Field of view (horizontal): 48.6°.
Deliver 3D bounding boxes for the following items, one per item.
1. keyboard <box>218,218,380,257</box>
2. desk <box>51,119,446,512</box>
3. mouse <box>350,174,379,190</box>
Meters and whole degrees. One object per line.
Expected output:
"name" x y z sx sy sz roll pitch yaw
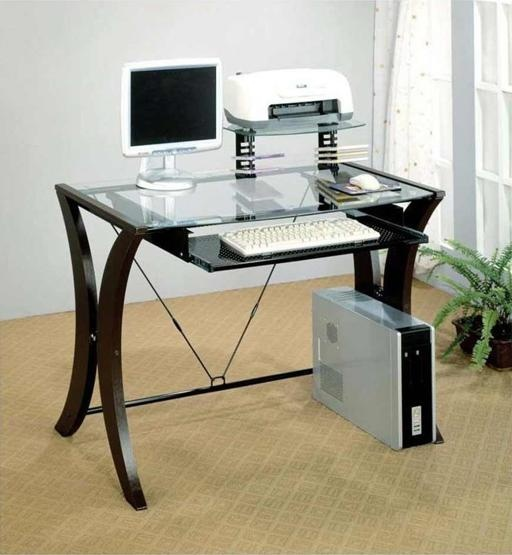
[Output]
"keyboard" 0.134 -0.127 1.717 0.470 0.056 0.231 -7 16 -25
"desk" -0.003 0.138 2.105 1.283 0.872 0.686 -7 16 -34
"mouse" 0.378 -0.333 1.913 0.064 0.029 0.081 -9 22 -26
